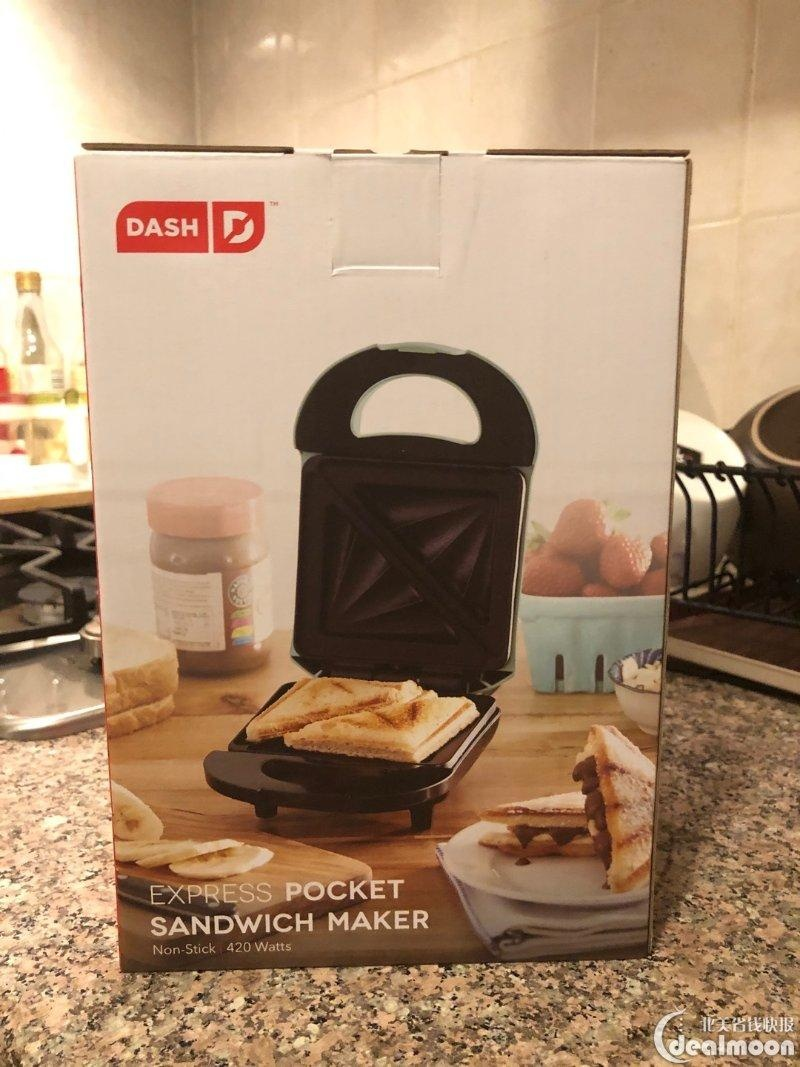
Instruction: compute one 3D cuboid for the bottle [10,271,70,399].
[{"bbox_3d":[-0.530,-0.286,1.442,0.068,0.178,0.252,-4,13,-20],"label":"bottle"}]
